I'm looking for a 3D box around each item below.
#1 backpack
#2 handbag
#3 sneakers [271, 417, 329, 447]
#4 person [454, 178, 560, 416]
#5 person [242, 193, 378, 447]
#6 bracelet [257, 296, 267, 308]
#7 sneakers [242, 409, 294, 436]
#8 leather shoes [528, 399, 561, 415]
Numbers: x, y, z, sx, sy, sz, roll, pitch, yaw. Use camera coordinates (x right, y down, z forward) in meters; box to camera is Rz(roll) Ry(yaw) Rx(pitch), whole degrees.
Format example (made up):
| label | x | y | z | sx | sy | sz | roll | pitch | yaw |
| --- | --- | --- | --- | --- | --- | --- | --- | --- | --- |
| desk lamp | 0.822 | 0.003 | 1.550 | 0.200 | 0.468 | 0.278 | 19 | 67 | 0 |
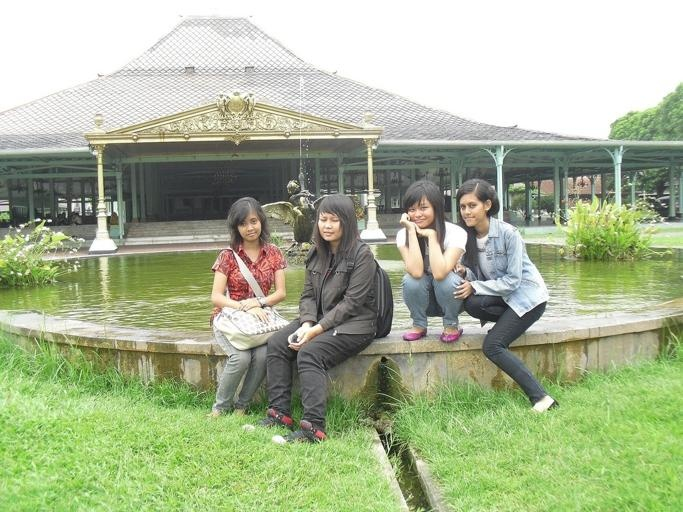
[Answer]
| label | x | y | z | sx | sy | sz | roll | pitch | yaw |
| --- | --- | --- | --- | --- | --- | --- | --- | --- | --- |
| backpack | 0.112 | 0.223 | 3.809 | 0.347 | 0.663 | 0.478 | -1 | 7 | -7 |
| handbag | -0.568 | 0.419 | 3.430 | 0.344 | 0.128 | 0.264 | 2 | 8 | 7 |
| sneakers | -0.202 | 0.959 | 3.105 | 0.319 | 0.138 | 0.106 | 7 | -10 | -20 |
| person | 0.956 | 0.194 | 3.398 | 0.696 | 1.216 | 0.485 | 7 | 16 | 33 |
| person | -0.163 | 0.319 | 3.296 | 0.498 | 1.261 | 0.819 | 6 | 16 | 30 |
| bracelet | -0.496 | 0.290 | 3.609 | 0.025 | 0.063 | 0.046 | -9 | 5 | -25 |
| sneakers | -0.417 | 0.918 | 3.195 | 0.302 | 0.131 | 0.101 | 8 | -20 | -10 |
| leather shoes | 1.130 | 0.844 | 3.219 | 0.171 | 0.073 | 0.061 | -4 | -2 | 9 |
